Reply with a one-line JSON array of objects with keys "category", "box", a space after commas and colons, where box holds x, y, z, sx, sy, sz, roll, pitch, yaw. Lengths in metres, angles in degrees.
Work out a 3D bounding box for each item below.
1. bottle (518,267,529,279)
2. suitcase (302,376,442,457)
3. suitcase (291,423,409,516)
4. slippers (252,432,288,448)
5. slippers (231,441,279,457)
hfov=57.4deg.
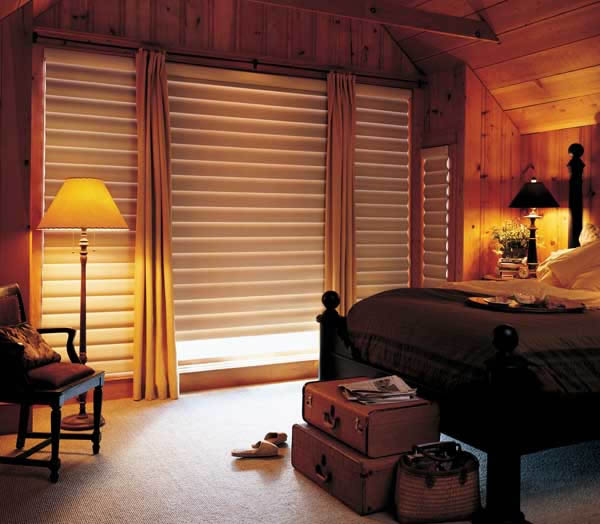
[{"category": "bottle", "box": [1.789, 0.083, 4.401, 0.080, 0.081, 0.078, 2, -4, -14]}, {"category": "suitcase", "box": [0.321, 0.771, 2.795, 0.428, 0.236, 0.581, 0, 3, -31]}, {"category": "suitcase", "box": [0.181, 0.995, 2.622, 0.313, 0.138, 0.381, 0, 3, -30]}, {"category": "slippers", "box": [-0.168, 1.045, 3.250, 0.073, 0.054, 0.205, 2, 1, 34]}, {"category": "slippers", "box": [-0.254, 1.041, 3.135, 0.210, 0.067, 0.108, -1, -1, -5]}]
